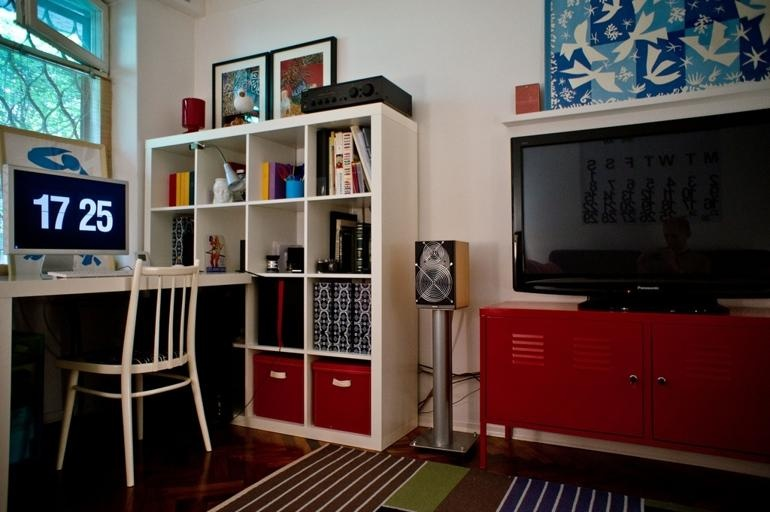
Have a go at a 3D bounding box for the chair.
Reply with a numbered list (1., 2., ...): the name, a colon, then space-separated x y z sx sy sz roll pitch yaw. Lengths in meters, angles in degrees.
1. chair: -1.508 0.655 3.514 0.875 1.144 0.884 1 -3 -34

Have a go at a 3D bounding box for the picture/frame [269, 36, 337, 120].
1. picture/frame: -0.567 -1.291 4.154 0.761 0.706 0.082 -2 -4 32

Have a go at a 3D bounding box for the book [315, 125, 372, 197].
1. book: -0.231 -0.582 4.019 0.402 0.606 0.512 0 -1 14

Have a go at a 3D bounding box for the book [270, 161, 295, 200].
1. book: -0.748 -0.527 3.984 0.139 0.228 0.200 2 16 -4

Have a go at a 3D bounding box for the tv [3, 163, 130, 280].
1. tv: -1.969 -0.203 3.526 0.081 0.524 0.770 -5 -3 38

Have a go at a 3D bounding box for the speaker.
1. speaker: 0.365 0.119 3.635 0.352 0.409 0.356 -2 -3 44

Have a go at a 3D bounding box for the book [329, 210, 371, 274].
1. book: -0.235 -0.076 3.795 0.430 0.409 0.205 -1 -1 38

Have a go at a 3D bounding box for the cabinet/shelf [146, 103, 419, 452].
1. cabinet/shelf: -0.612 0.208 3.805 2.304 2.212 0.623 0 1 29

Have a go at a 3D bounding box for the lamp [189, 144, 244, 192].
1. lamp: -1.161 -0.606 4.021 0.379 0.356 0.145 -2 12 -22

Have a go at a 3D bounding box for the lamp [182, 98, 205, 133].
1. lamp: -1.465 -1.068 4.397 0.158 0.247 0.157 6 7 -13
